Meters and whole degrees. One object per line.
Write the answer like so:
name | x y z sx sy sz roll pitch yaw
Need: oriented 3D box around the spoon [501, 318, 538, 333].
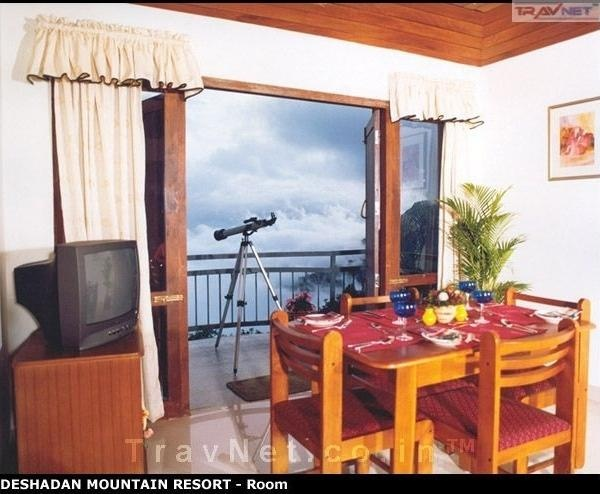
spoon | 1.232 0.434 2.885 0.055 0.034 0.191 -4 4 -18

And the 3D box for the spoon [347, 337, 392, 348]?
spoon | 0.361 0.486 2.636 0.285 0.035 0.075 -4 3 -37

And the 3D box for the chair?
chair | 0.707 0.836 2.745 1.750 1.044 0.737 -4 5 -5

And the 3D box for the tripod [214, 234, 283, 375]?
tripod | -0.478 0.447 5.042 0.494 1.585 0.559 1 3 -29

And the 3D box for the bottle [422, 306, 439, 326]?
bottle | 0.750 0.400 2.950 0.090 0.115 0.096 -2 -1 0

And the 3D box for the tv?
tv | -1.257 0.216 2.892 0.545 0.598 0.585 1 0 12
